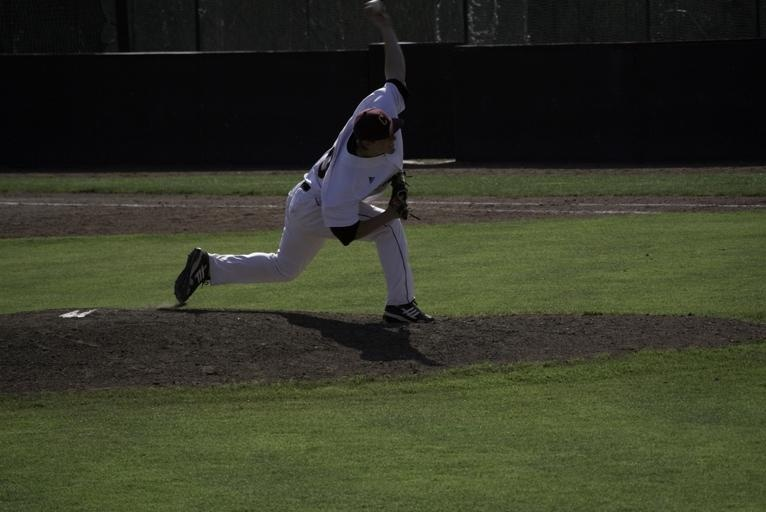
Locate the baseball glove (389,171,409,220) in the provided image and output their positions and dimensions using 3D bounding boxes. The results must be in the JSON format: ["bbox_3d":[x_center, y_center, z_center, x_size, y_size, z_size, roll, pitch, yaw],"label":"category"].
[{"bbox_3d":[0.177,-0.718,16.152,0.207,0.559,0.433,-1,15,2],"label":"baseball glove"}]

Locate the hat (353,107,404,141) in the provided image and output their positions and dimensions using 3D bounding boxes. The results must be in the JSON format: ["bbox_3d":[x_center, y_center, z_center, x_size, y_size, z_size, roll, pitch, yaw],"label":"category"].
[{"bbox_3d":[-0.063,-1.538,15.790,0.532,0.224,0.322,-6,39,-6],"label":"hat"}]
